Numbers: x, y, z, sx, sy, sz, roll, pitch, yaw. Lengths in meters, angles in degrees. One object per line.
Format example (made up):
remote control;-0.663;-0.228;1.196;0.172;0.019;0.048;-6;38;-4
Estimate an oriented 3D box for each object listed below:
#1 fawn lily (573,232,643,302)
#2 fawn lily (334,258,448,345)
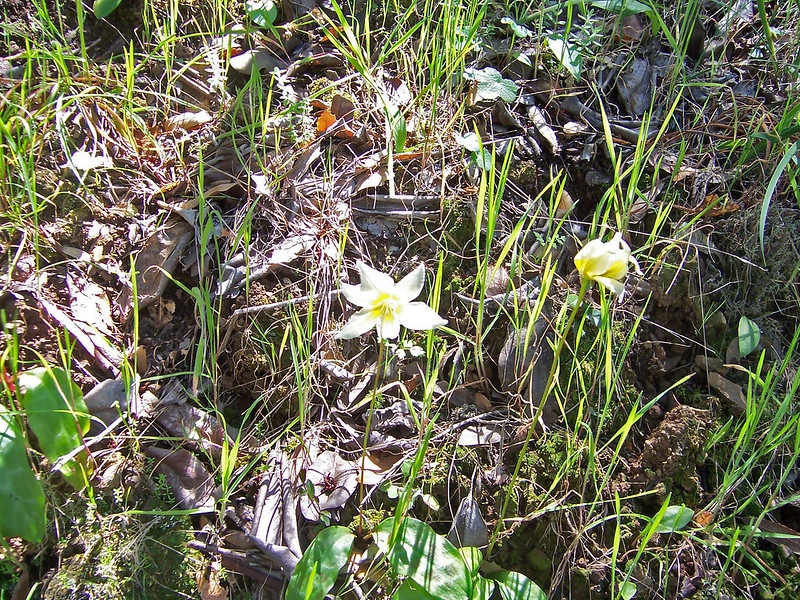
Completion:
fawn lily;0.642;-0.132;1.883;0.190;0.214;0.135;23;92;-7
fawn lily;-0.036;0.009;1.835;0.331;0.201;0.200;-6;67;-1
